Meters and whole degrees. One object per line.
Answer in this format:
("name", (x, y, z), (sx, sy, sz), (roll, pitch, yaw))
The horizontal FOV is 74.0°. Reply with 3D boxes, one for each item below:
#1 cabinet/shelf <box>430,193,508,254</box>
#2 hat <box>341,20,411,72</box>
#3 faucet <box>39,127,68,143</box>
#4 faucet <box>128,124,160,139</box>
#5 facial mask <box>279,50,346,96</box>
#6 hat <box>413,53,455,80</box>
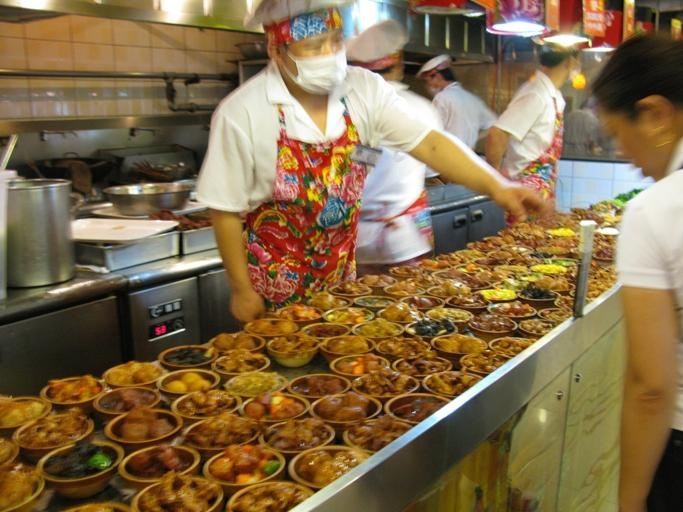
("cabinet/shelf", (1.180, -0.325, 4.402), (0.403, 0.418, 0.728), (6, 21, 45))
("hat", (0.217, -1.183, 2.613), (0.352, 0.142, 0.369), (4, 46, 22))
("faucet", (-2.356, -0.991, 3.712), (0.047, 0.099, 0.198), (7, 16, 27))
("faucet", (-1.854, -1.162, 4.249), (0.323, 0.093, 0.064), (-9, 18, -44))
("facial mask", (-0.107, -0.746, 1.825), (0.181, 0.104, 0.203), (-20, 43, -29))
("hat", (1.054, -2.115, 5.100), (0.276, 0.075, 0.271), (-28, 12, -26))
